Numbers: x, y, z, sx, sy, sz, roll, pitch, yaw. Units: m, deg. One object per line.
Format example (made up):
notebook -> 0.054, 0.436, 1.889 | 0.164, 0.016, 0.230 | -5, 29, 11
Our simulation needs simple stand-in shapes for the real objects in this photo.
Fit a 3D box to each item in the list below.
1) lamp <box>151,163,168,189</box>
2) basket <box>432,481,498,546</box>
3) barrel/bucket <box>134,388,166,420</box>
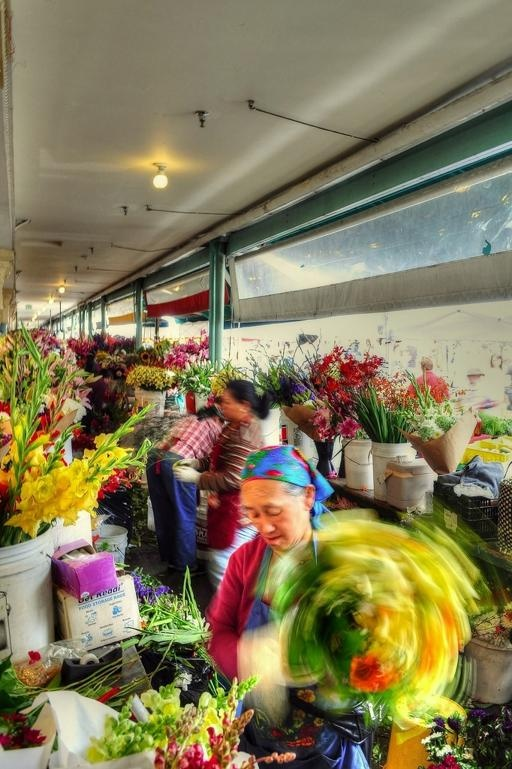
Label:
lamp -> -0.749, -1.616, 3.912 | 0.105, 0.148, 0.270 | -1, 3, -11
basket -> 0.901, 0.549, 2.184 | 0.245, 0.154, 0.247 | 2, -1, 7
barrel/bucket -> -0.820, 0.139, 3.901 | 0.268, 0.257, 0.241 | 1, -6, -5
